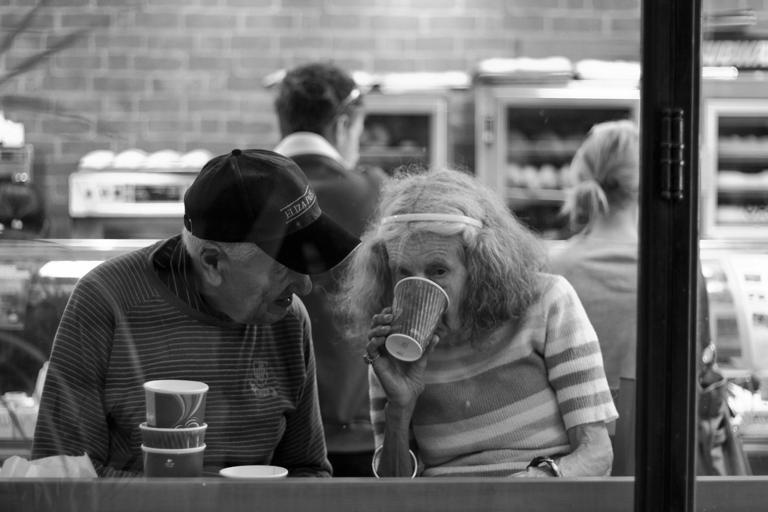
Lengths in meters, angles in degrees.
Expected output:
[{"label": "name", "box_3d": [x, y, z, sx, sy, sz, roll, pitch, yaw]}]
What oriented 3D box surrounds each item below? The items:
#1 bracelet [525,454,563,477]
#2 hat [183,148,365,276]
[{"label": "bracelet", "box_3d": [0.496, 0.630, 4.495, 0.080, 0.063, 0.032, 8, -40, -9]}, {"label": "hat", "box_3d": [-0.347, -0.166, 4.554, 0.608, 0.286, 0.375, 8, 19, 23]}]
